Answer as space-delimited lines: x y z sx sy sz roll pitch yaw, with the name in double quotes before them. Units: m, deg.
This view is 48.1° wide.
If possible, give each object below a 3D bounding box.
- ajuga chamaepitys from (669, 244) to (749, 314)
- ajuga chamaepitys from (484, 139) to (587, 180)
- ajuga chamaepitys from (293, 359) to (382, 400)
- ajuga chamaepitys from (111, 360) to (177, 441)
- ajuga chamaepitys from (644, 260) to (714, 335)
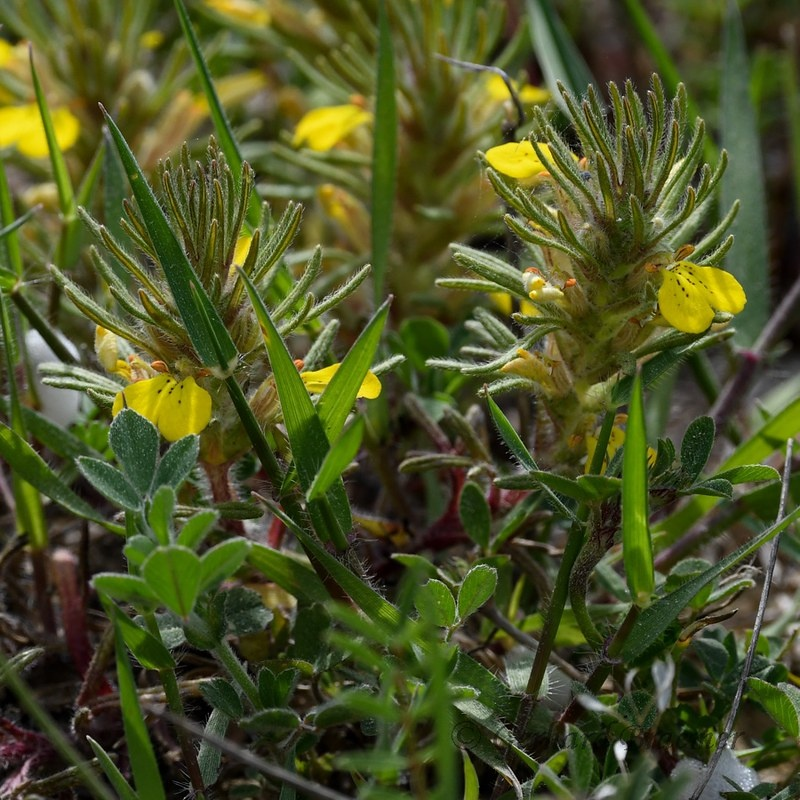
"ajuga chamaepitys" 0.282 -0.107 0.833 0.041 0.023 0.070 -29 70 -31
"ajuga chamaepitys" 0.132 -0.223 0.855 0.069 0.017 0.049 2 69 -12
"ajuga chamaepitys" -0.058 -0.016 0.834 0.070 0.034 0.016 6 19 10
"ajuga chamaepitys" -0.236 0.003 0.838 0.064 0.024 0.066 -25 78 -19
"ajuga chamaepitys" 0.241 -0.089 0.795 0.046 0.022 0.061 -35 69 -19
